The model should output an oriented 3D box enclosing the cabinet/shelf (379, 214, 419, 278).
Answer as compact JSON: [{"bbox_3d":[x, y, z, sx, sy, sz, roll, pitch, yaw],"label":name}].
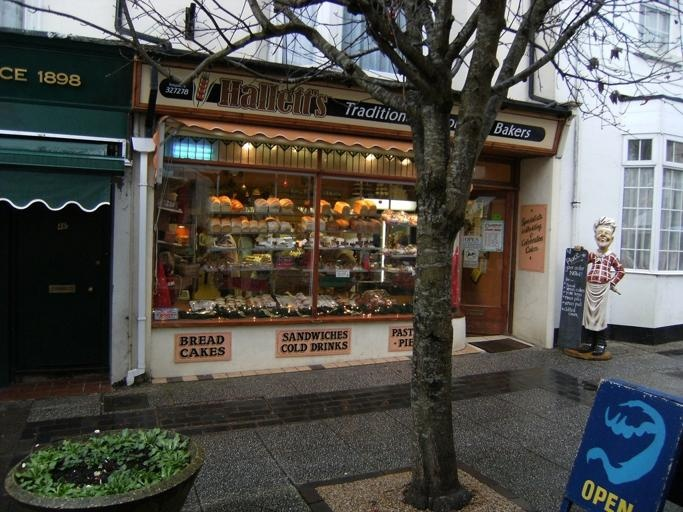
[{"bbox_3d":[1.084,-0.208,9.936,0.838,1.260,0.805,7,20,23],"label":"cabinet/shelf"}]

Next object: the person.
[{"bbox_3d":[4.705,0.558,9.565,0.586,2.416,0.793,6,9,28],"label":"person"}]

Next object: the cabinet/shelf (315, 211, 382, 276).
[{"bbox_3d":[0.050,-0.213,9.219,1.145,1.021,0.365,0,5,-22],"label":"cabinet/shelf"}]
